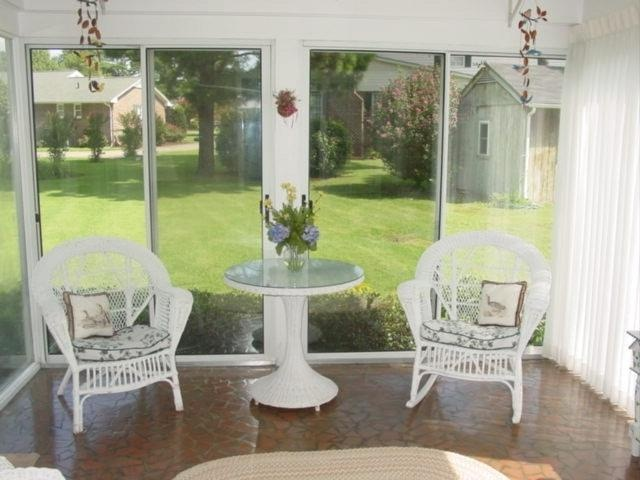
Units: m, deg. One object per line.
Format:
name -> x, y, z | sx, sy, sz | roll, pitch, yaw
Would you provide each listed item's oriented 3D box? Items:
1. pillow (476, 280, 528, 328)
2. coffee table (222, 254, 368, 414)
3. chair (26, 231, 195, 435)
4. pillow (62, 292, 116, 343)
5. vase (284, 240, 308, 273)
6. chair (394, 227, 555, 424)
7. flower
pillow -> 1.414, 0.508, 4.790 | 0.322, 0.350, 0.124 | 1, -29, 35
coffee table -> -0.190, 0.698, 4.958 | 1.043, 0.953, 1.109 | 0, 6, 3
chair -> -1.629, 0.636, 4.821 | 1.095, 1.257, 1.115 | -5, 14, -25
pillow -> -1.746, 0.591, 4.610 | 0.107, 0.303, 0.303 | -34, -29, 33
vase -> -0.170, 0.136, 4.868 | 0.204, 0.232, 0.186 | 2, 5, 37
chair -> 1.249, 0.659, 4.935 | 1.117, 1.377, 0.990 | 3, 6, 27
flower -> -0.210, -0.057, 4.869 | 0.449, 0.597, 0.469 | -7, -11, 14
